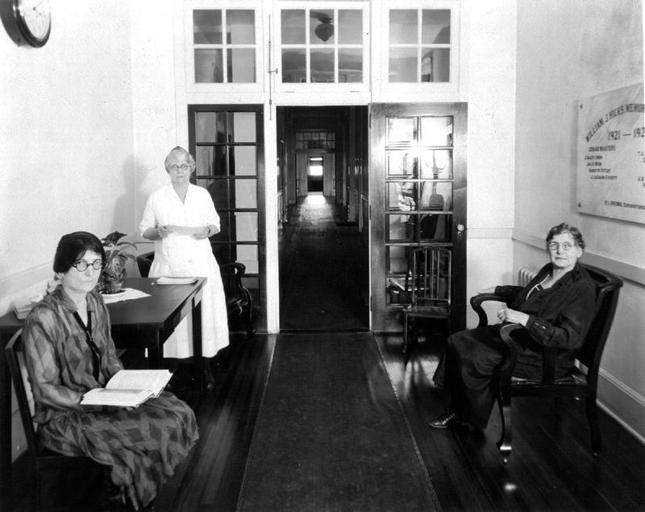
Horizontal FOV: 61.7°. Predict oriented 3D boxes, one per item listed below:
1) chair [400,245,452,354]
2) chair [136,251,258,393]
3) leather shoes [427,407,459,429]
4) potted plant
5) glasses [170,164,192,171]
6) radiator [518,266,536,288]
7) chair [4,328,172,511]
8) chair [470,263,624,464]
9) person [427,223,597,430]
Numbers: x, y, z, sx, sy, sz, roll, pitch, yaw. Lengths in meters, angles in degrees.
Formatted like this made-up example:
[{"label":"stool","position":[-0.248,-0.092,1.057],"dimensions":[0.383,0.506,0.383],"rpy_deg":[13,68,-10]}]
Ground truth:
[{"label":"chair","position":[1.023,0.431,5.233],"dimensions":[0.472,1.032,0.461],"rpy_deg":[3,2,44]},{"label":"chair","position":[-1.332,0.496,5.418],"dimensions":[0.904,1.396,1.007],"rpy_deg":[4,14,14]},{"label":"leather shoes","position":[0.821,1.104,3.684],"dimensions":[0.244,0.120,0.091],"rpy_deg":[-1,8,4]},{"label":"potted plant","position":[-1.398,0.005,3.635],"dimensions":[0.284,0.241,0.288],"rpy_deg":[7,10,-15]},{"label":"glasses","position":[-1.097,-0.674,4.168],"dimensions":[0.192,0.071,0.099],"rpy_deg":[-4,10,-18]},{"label":"radiator","position":[1.813,0.187,4.812],"dimensions":[0.102,0.158,0.148],"rpy_deg":[-1,14,2]},{"label":"chair","position":[-1.161,0.650,2.560],"dimensions":[0.487,0.947,0.510],"rpy_deg":[-1,10,-10]},{"label":"chair","position":[1.535,0.774,3.549],"dimensions":[0.725,1.034,0.770],"rpy_deg":[-2,-14,31]},{"label":"person","position":[1.211,0.490,3.576],"dimensions":[0.803,1.521,0.749],"rpy_deg":[13,10,12]}]
